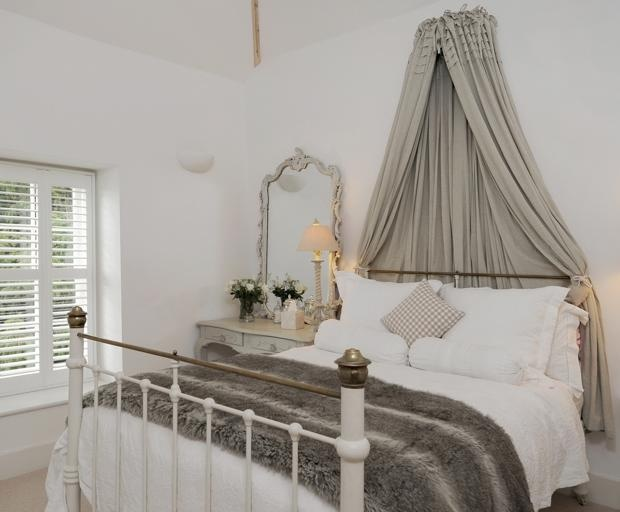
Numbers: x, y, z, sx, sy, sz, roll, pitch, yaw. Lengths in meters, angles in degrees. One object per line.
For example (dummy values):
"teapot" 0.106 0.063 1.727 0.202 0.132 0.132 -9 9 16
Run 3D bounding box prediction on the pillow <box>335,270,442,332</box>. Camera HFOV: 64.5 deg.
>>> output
"pillow" 0.384 0.273 3.106 0.121 0.346 0.453 24 -15 -41

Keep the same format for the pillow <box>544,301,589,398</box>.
"pillow" 1.345 0.491 2.576 0.107 0.410 0.350 9 -3 -1

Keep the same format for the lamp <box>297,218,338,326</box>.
"lamp" 0.059 0.143 3.684 0.317 0.782 0.326 -2 7 -11

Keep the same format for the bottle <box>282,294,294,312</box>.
"bottle" -0.161 0.378 3.752 0.065 0.120 0.111 2 3 24

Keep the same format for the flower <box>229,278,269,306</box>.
"flower" -0.502 0.286 4.012 0.221 0.176 0.229 12 -5 -18

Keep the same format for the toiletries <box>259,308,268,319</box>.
"toiletries" -0.403 0.494 4.210 0.050 0.087 0.026 -7 -4 41

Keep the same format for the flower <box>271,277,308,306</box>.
"flower" -0.178 0.265 3.983 0.237 0.255 0.236 2 4 10
